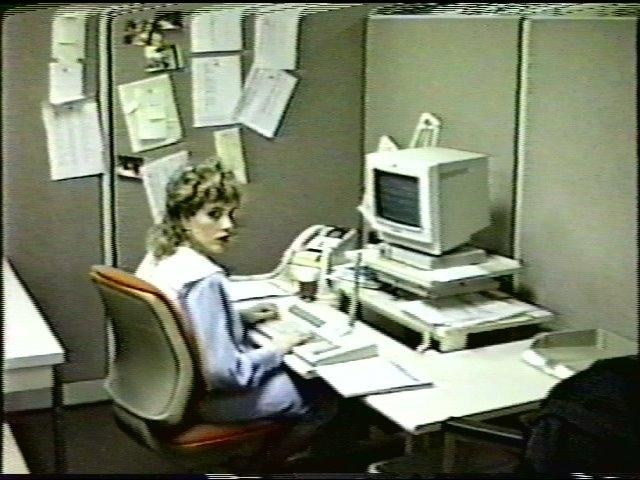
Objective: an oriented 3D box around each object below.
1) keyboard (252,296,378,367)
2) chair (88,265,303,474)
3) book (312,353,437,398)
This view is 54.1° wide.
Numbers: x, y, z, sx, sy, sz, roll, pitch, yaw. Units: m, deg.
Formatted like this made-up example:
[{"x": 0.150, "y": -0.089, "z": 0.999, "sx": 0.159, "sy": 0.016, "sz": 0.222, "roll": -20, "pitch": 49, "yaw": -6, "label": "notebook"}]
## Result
[{"x": -0.001, "y": 0.354, "z": 2.372, "sx": 0.294, "sy": 0.050, "sz": 0.367, "roll": -2, "pitch": 17, "yaw": -36, "label": "keyboard"}, {"x": -0.416, "y": 0.514, "z": 2.207, "sx": 0.647, "sy": 0.896, "sz": 0.279, "roll": -7, "pitch": 18, "yaw": -9, "label": "chair"}, {"x": 0.172, "y": 0.470, "z": 2.169, "sx": 0.334, "sy": 0.018, "sz": 0.298, "roll": -7, "pitch": 15, "yaw": -29, "label": "book"}]
